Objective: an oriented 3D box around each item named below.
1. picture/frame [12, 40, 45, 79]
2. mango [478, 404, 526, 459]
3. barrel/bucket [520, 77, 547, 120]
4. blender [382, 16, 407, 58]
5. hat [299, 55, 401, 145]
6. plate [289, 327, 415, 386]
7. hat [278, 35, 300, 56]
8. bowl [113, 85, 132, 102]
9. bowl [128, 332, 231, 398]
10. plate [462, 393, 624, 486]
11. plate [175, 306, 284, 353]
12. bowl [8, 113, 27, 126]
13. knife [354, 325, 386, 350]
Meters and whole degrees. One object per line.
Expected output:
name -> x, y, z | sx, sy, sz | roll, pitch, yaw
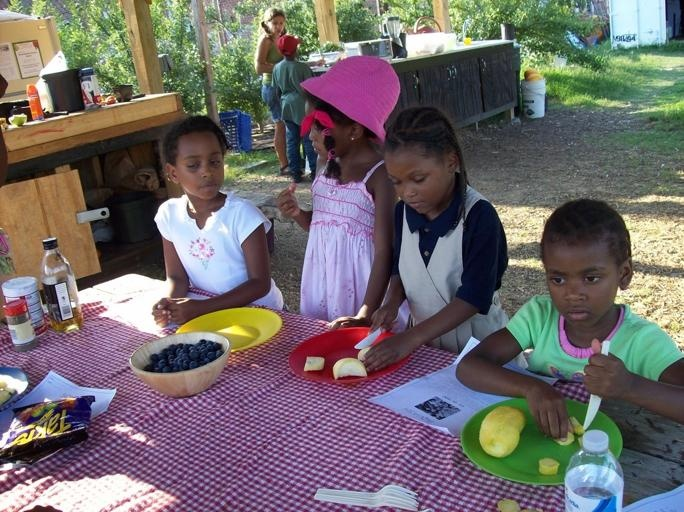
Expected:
picture/frame -> -3.000, -1.892, 5.159 | 0.066, 0.347, 0.247 | 6, 21, 33
mango -> 0.401, 0.426, 1.356 | 0.106, 0.100, 0.126 | 8, 14, 20
barrel/bucket -> 3.695, -3.023, 10.314 | 0.696, 0.845, 0.635 | -7, 17, 2
blender -> 0.731, -2.994, 7.320 | 0.285, 0.575, 0.528 | -4, 18, 6
hat -> 0.086, -0.714, 2.395 | 0.227, 0.403, 0.355 | -48, 12, -7
plate -> -0.030, 0.280, 1.845 | 0.438, 0.132, 0.357 | -8, 16, -32
hat -> -0.612, -2.415, 6.136 | 0.219, 0.228, 0.228 | -8, 18, -4
bowl -> -1.700, -1.268, 4.186 | 0.139, 0.127, 0.179 | -12, 18, -19
bowl -> -0.498, 0.306, 1.762 | 0.322, 0.200, 0.312 | 2, 12, 0
plate -> 0.471, 0.434, 1.414 | 0.361, 0.147, 0.347 | 5, 11, 1
plate -> -0.372, 0.210, 2.084 | 0.333, 0.140, 0.445 | 13, 13, 38
bowl -> -2.106, -0.877, 3.510 | 0.121, 0.082, 0.119 | -3, 13, 1
knife -> 0.090, 0.277, 1.805 | 0.036, 0.026, 0.159 | 1, 7, 28
